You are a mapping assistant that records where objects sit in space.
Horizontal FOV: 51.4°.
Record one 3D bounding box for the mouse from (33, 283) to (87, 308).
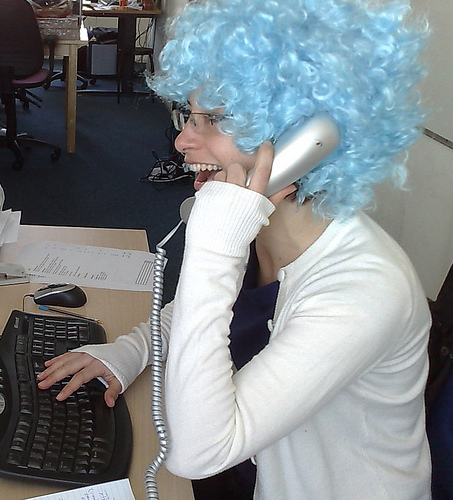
[{"bbox_3d":[-0.396,0.110,1.119,0.110,0.034,0.057,8,10,-12],"label":"mouse"}]
